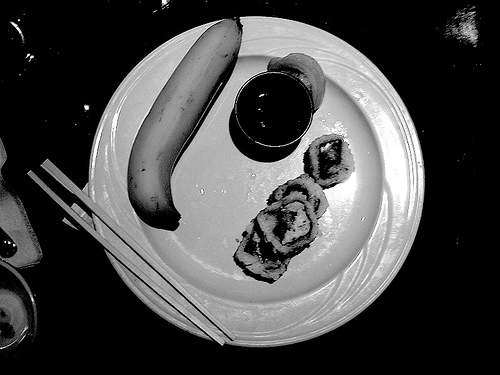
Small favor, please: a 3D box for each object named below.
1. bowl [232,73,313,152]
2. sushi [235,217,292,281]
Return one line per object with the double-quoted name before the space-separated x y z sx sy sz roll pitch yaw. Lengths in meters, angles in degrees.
"bowl" 0.056 -0.183 1.454 0.185 0.050 0.173 0 83 -3
"sushi" 0.024 0.165 1.446 0.137 0.038 0.143 18 94 -1
